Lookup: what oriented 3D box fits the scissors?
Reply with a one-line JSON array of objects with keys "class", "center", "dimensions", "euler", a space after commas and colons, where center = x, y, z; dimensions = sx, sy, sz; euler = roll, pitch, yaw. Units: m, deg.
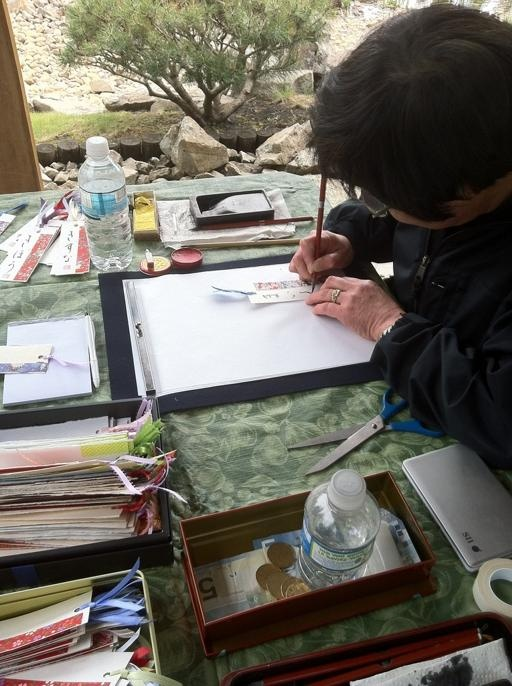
[{"class": "scissors", "center": [0.181, 0.139, 0.799], "dimensions": [0.233, 0.017, 0.132], "euler": [-19, 31, -12]}]

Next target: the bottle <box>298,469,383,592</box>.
[{"class": "bottle", "center": [0.094, 0.215, 0.553], "dimensions": [0.083, 0.159, 0.071], "euler": [-3, 47, -6]}]

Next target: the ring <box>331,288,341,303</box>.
[{"class": "ring", "center": [0.168, -0.098, 1.039], "dimensions": [0.020, 0.010, 0.025], "euler": [0, 65, 38]}]
